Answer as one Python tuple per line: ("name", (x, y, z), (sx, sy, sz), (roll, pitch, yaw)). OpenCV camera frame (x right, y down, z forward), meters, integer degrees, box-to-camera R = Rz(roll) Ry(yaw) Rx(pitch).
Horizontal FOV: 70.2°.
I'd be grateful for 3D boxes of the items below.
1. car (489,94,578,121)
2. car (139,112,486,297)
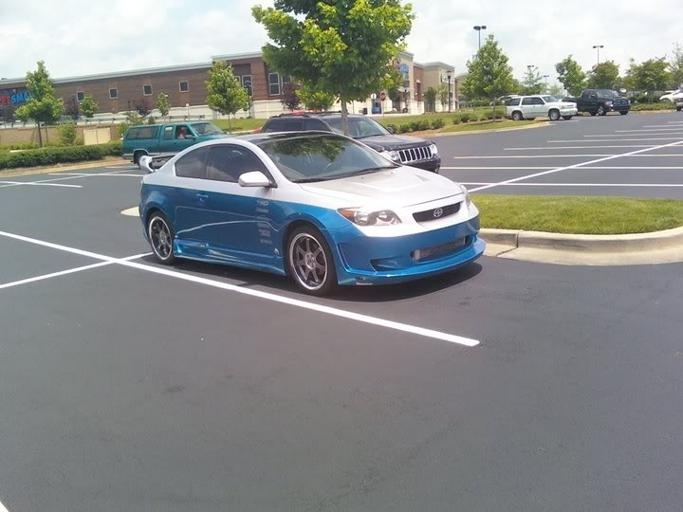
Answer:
("car", (18.776, -14.119, 46.217), (5.836, 2.397, 2.649), (4, 15, 26))
("car", (-0.601, -0.742, 7.215), (5.157, 2.139, 1.709), (5, 15, 30))
